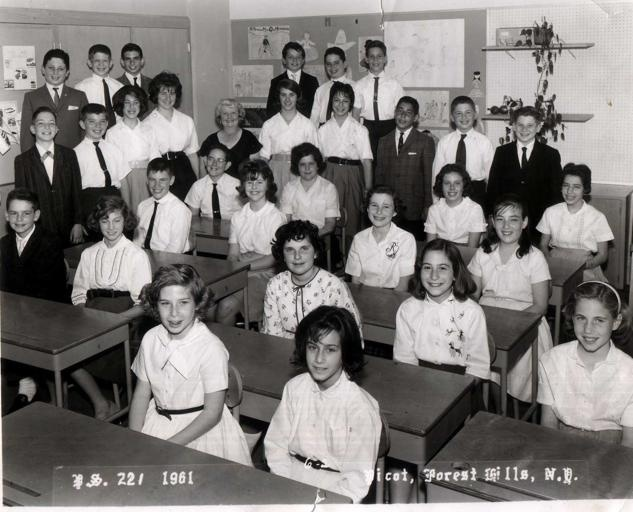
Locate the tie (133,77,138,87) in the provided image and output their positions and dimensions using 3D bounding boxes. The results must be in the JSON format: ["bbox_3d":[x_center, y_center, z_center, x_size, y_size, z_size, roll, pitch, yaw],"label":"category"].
[{"bbox_3d":[-1.552,-1.496,5.215,0.036,0.117,0.015,-1,-3,-30],"label":"tie"}]

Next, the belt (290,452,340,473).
[{"bbox_3d":[0.001,0.686,2.012,0.074,0.021,0.081,38,-12,-31],"label":"belt"}]
